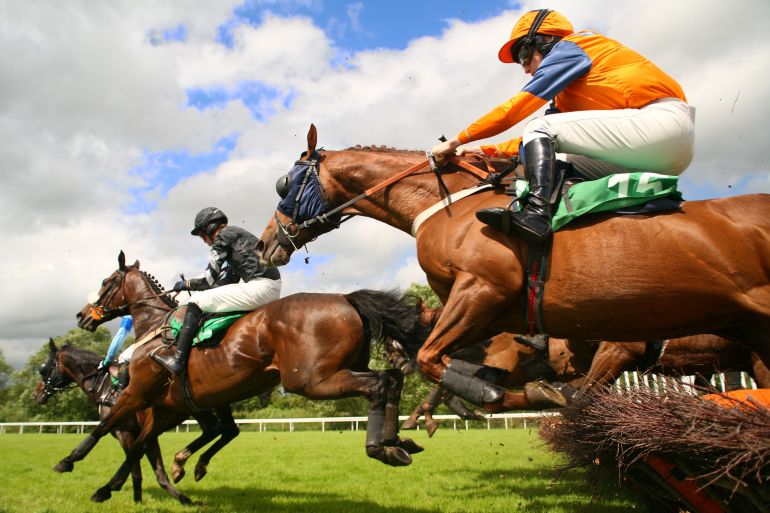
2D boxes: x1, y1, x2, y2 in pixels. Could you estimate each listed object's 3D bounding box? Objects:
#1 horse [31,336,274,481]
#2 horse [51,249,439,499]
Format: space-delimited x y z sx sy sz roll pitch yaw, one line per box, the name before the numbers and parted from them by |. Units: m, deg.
horse | -3.904 2.604 12.343 4.637 2.407 1.102 -7 11 29
horse | -1.800 1.361 9.075 5.383 2.608 1.022 -6 -10 24
